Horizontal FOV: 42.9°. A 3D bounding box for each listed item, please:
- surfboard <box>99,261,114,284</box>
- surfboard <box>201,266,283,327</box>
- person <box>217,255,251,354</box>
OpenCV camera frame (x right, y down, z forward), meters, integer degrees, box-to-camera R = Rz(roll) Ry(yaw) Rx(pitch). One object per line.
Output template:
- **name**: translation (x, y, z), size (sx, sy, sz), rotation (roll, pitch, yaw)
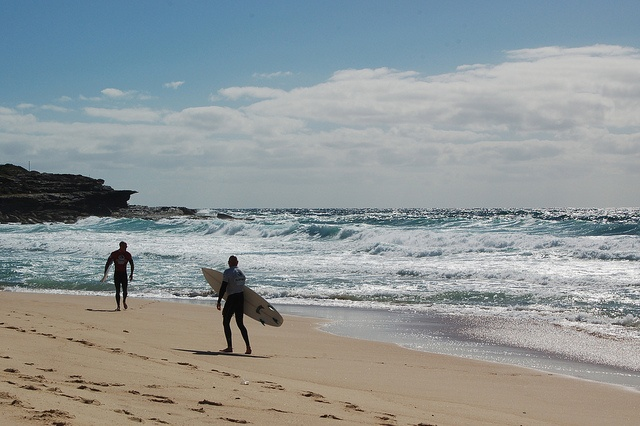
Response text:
- **surfboard**: translation (-7.826, 2.190, 30.082), size (0.405, 0.394, 2.881), rotation (32, -21, -10)
- **surfboard**: translation (-2.362, 2.563, 24.751), size (3.033, 0.645, 0.411), rotation (33, 20, 16)
- **person**: translation (-2.245, 2.380, 21.999), size (0.961, 2.540, 1.564), rotation (5, 12, -6)
